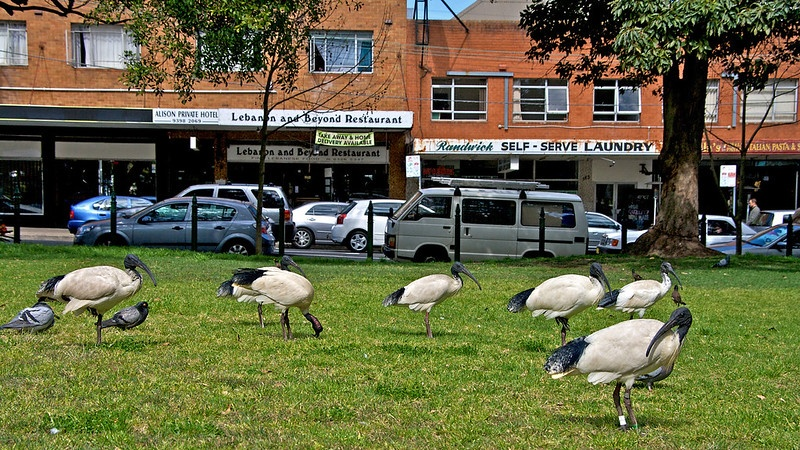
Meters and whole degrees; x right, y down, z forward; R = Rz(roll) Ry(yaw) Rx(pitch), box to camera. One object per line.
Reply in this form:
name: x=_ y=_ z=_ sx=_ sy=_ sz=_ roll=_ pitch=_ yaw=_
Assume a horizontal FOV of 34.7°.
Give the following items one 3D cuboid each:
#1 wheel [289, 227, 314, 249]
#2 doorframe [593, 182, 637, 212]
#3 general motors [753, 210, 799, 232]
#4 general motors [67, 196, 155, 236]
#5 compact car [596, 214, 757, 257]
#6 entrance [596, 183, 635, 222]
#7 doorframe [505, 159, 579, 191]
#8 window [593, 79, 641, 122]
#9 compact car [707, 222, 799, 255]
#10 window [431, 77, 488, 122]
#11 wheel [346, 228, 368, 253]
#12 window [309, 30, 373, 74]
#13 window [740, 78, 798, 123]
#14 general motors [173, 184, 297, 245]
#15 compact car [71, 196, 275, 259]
wheel: x=-4.714 y=0.521 z=60.592 sx=0.725 sy=0.724 sz=0.276 roll=39 pitch=-11 yaw=6
doorframe: x=11.730 y=-1.636 z=69.631 sx=1.747 sy=1.716 sz=0.170 roll=3 pitch=-2 yaw=1
general motors: x=17.652 y=-0.360 z=61.208 sx=1.871 sy=0.885 sz=1.110 roll=-6 pitch=7 yaw=-17
general motors: x=-13.656 y=-0.394 z=61.876 sx=4.417 sy=1.654 sz=2.010 roll=-4 pitch=3 yaw=-21
compact car: x=12.685 y=0.309 z=59.349 sx=6.046 sy=1.948 sz=2.769 roll=1 pitch=-1 yaw=-5
entrance: x=11.605 y=-1.287 z=68.577 sx=2.151 sy=2.186 sz=0.289 roll=4 pitch=-2 yaw=2
doorframe: x=7.551 y=-2.718 z=67.934 sx=2.364 sy=1.637 sz=0.150 roll=0 pitch=-3 yaw=-3
window: x=11.664 y=-6.672 z=68.401 sx=2.425 sy=2.051 sz=0.311 roll=1 pitch=-2 yaw=-2
compact car: x=15.839 y=0.685 z=57.000 sx=3.616 sy=1.195 sz=1.618 roll=2 pitch=-3 yaw=7
window: x=3.126 y=-6.901 z=69.934 sx=2.539 sy=1.729 sz=0.244 roll=1 pitch=-3 yaw=-14
wheel: x=-2.002 y=0.649 z=59.850 sx=0.995 sy=0.970 sz=0.351 roll=9 pitch=11 yaw=1
window: x=-3.267 y=-9.174 z=67.511 sx=3.757 sy=2.463 sz=0.426 roll=0 pitch=-1 yaw=-9
window: x=19.494 y=-6.676 z=67.671 sx=3.395 sy=2.427 sz=0.452 roll=0 pitch=3 yaw=-2
general motors: x=-7.298 y=-0.593 z=58.411 sx=4.872 sy=2.270 sz=2.579 roll=2 pitch=0 yaw=-3
compact car: x=-9.300 y=-0.397 z=55.165 sx=6.807 sy=2.202 sz=3.329 roll=3 pitch=-3 yaw=-10
